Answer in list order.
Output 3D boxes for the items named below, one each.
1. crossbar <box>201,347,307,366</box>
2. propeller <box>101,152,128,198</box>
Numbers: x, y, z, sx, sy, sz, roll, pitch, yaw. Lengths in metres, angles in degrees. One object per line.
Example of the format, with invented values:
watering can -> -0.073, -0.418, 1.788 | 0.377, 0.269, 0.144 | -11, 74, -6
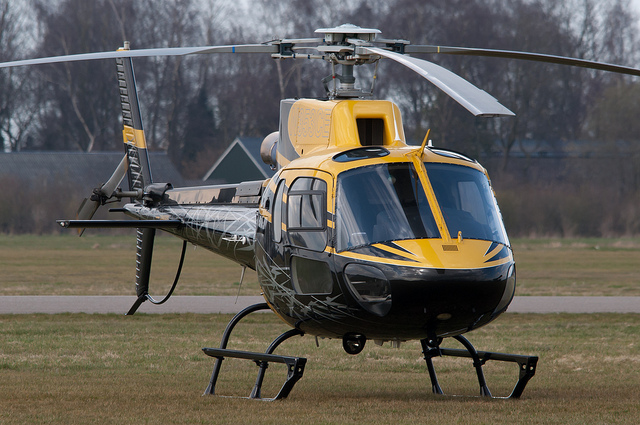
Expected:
crossbar -> -1.650, 3.563, 37.148 | 2.511, 0.313, 0.277 | 6, 46, 4
propeller -> -5.228, -0.894, 38.887 | 0.193, 0.336, 1.271 | -30, 16, 48
